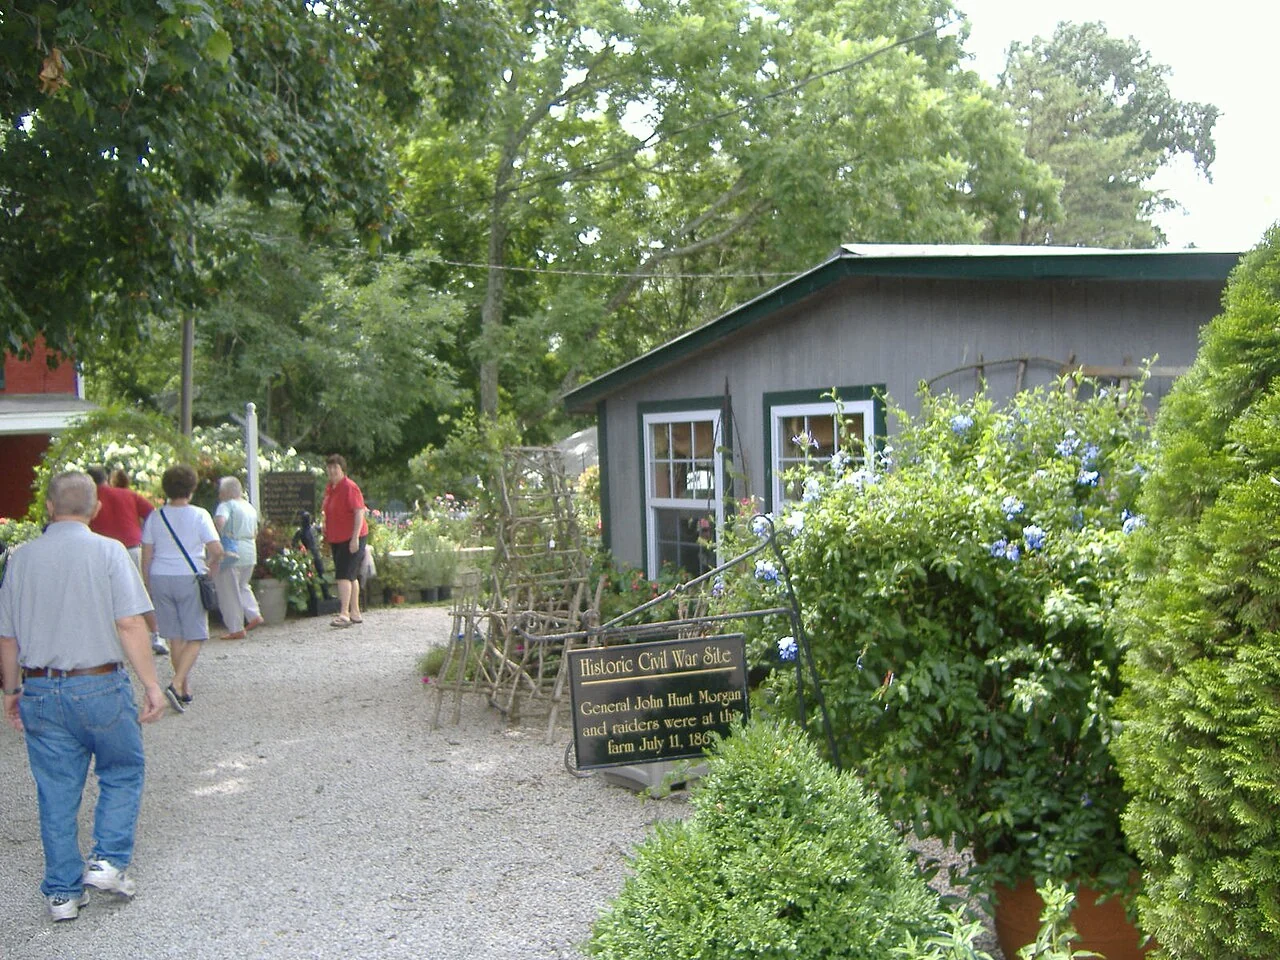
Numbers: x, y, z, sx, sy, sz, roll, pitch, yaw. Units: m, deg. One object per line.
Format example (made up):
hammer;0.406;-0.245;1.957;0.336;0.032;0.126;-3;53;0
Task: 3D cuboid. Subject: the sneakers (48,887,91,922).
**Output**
sneakers;-3.124;2.307;7.306;0.086;0.120;0.261;2;6;4

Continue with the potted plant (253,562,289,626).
potted plant;-4.468;1.412;16.224;0.517;0.665;0.572;-1;-4;6

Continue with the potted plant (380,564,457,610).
potted plant;-3.035;1.417;18.061;1.111;0.523;0.435;-7;10;-26

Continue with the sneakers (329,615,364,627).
sneakers;-3.435;1.668;15.631;0.125;0.109;0.340;-3;-13;23

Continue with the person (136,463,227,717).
person;-3.778;0.886;11.051;0.628;2.068;0.738;2;1;-10

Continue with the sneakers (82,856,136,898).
sneakers;-2.916;2.209;7.439;0.163;0.147;0.370;-26;-33;22

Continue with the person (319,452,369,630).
person;-3.367;0.720;15.295;0.463;2.133;1.289;-4;9;-13
